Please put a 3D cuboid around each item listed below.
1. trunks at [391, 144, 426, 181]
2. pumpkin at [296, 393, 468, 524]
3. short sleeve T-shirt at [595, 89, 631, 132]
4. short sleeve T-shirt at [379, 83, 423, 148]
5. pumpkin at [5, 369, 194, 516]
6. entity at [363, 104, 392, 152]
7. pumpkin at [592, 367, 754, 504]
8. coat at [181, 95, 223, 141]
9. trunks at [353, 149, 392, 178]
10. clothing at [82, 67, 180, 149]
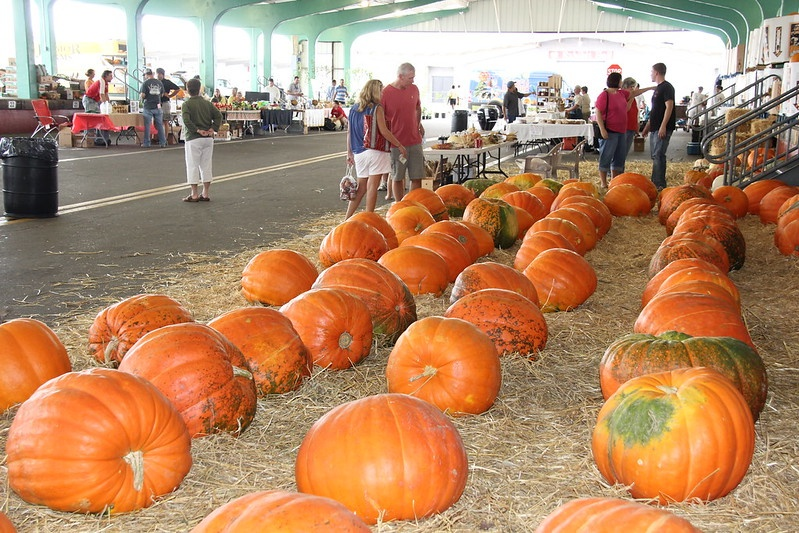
[{"bbox_3d":[0.140,-1.703,9.149,0.653,0.636,0.379,-3,4,-21],"label":"trunks"},{"bbox_3d":[-0.065,0.929,2.654,0.612,0.446,0.619,-8,-29,7],"label":"pumpkin"},{"bbox_3d":[4.393,-3.195,11.549,0.659,0.848,0.405,1,15,2],"label":"short sleeve T-shirt"},{"bbox_3d":[0.010,-2.363,8.820,0.883,1.064,0.437,-18,24,-37],"label":"short sleeve T-shirt"},{"bbox_3d":[-1.519,0.898,2.936,0.687,0.736,0.680,24,-29,-19],"label":"pumpkin"},{"bbox_3d":[-0.342,-2.063,8.405,0.322,0.887,0.686,6,9,18],"label":"entity"},{"bbox_3d":[1.399,0.806,2.965,0.660,0.671,0.507,0,33,-11],"label":"pumpkin"},{"bbox_3d":[-3.684,-2.762,10.488,0.690,0.786,0.356,-8,17,-26],"label":"coat"},{"bbox_3d":[-0.401,-1.614,8.694,0.570,0.519,0.398,6,33,9],"label":"trunks"},{"bbox_3d":[-9.752,-6.110,20.176,2.888,1.557,2.892,0,-2,-21],"label":"clothing"}]
